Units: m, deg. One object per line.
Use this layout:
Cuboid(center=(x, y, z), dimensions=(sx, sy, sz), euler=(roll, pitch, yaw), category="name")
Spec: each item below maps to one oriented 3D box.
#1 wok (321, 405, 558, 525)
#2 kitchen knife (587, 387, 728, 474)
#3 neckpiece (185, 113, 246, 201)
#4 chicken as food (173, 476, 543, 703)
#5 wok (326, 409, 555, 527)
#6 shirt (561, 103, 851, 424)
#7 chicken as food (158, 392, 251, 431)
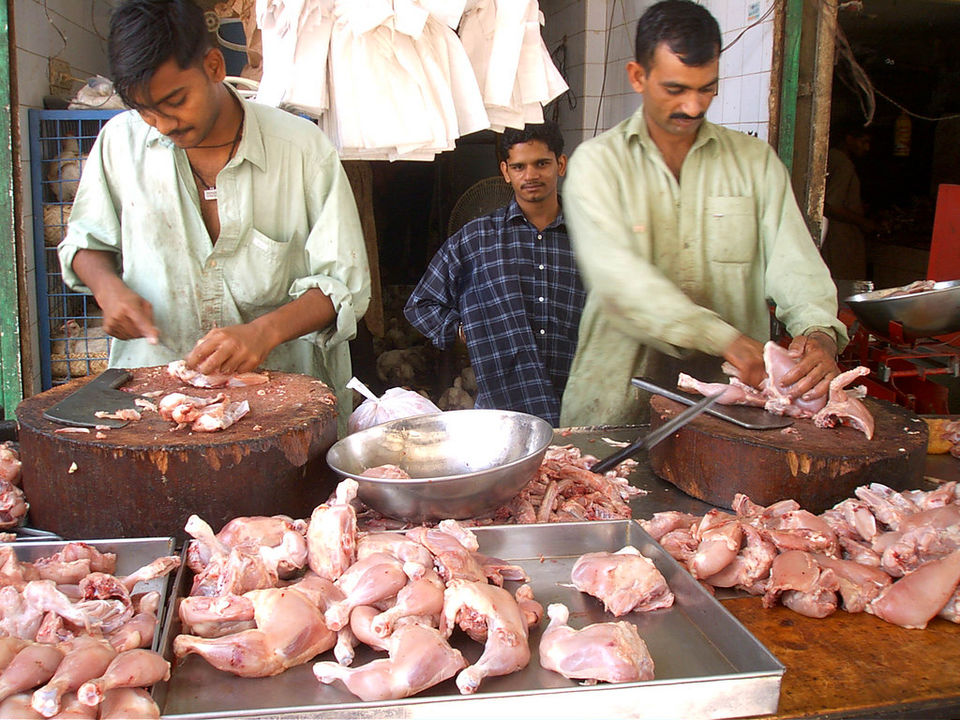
Cuboid(center=(-0.100, 0.283, 2.159), dimensions=(0.419, 0.129, 0.407), euler=(-4, 13, 12), category="wok")
Cuboid(center=(0.634, 0.257, 2.586), dimensions=(0.511, 0.063, 0.045), euler=(-33, -41, 24), category="kitchen knife")
Cuboid(center=(-1.036, -0.778, 2.848), dimensions=(0.223, 0.322, 0.081), euler=(-12, 39, -4), category="neckpiece")
Cuboid(center=(-0.282, 0.513, 1.626), dimensions=(0.545, 0.143, 0.457), euler=(4, 13, -4), category="chicken as food")
Cuboid(center=(-0.106, 0.296, 2.122), dimensions=(0.420, 0.131, 0.406), euler=(-4, 13, 15), category="wok")
Cuboid(center=(0.887, -0.433, 3.286), dimensions=(1.112, 1.443, 1.369), euler=(-13, 26, -4), category="shirt")
Cuboid(center=(-0.803, 0.151, 2.084), dimensions=(0.148, 0.043, 0.144), euler=(10, 4, 9), category="chicken as food")
